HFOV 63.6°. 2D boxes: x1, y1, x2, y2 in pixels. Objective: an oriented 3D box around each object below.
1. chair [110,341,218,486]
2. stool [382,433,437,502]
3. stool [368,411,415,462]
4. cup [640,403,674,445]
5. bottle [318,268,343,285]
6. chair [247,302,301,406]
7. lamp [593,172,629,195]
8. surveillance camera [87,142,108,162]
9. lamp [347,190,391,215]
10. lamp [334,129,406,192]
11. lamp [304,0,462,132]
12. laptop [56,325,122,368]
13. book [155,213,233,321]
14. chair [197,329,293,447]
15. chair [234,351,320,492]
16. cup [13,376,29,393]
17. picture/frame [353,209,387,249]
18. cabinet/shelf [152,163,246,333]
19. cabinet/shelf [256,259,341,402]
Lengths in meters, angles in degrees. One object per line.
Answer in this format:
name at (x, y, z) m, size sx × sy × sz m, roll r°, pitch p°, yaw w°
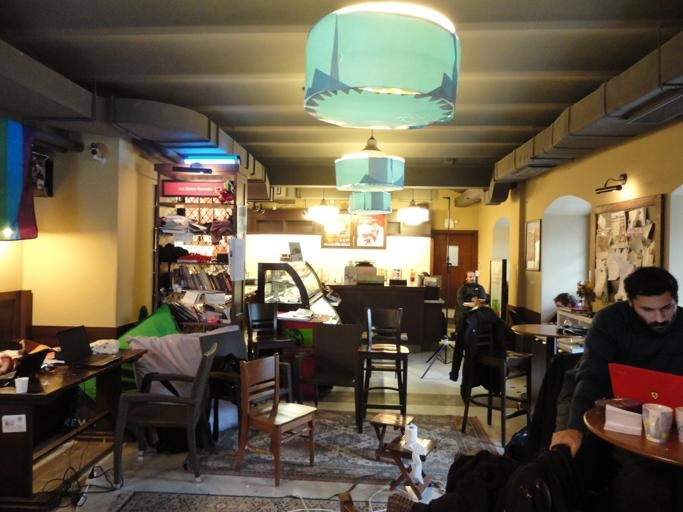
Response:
chair at (-1.612, 1.423, 5.150) m, size 0.820 × 1.087 × 0.870 m, roll 1°, pitch 1°, yaw -3°
stool at (0.607, 1.828, 4.834) m, size 0.431 × 0.418 × 0.453 m, roll -2°, pitch -5°, yaw 17°
stool at (0.421, 1.577, 5.089) m, size 0.448 × 0.432 × 0.458 m, roll 0°, pitch -3°, yaw 17°
cup at (1.841, 0.971, 3.209) m, size 0.165 × 0.184 × 0.167 m, roll 0°, pitch 2°, yaw 0°
bottle at (-0.381, 0.462, 12.970) m, size 0.853 × 0.449 × 0.260 m, roll -1°, pitch 3°, yaw 0°
chair at (-0.917, 1.197, 6.449) m, size 0.497 × 1.223 × 0.519 m, roll -3°, pitch 11°, yaw 1°
lamp at (3.225, -0.870, 6.619) m, size 0.183 × 0.262 × 0.537 m, roll 2°, pitch 8°, yaw 3°
surveillance camera at (-2.880, -1.246, 6.520) m, size 0.142 × 0.226 × 0.245 m, roll 0°, pitch 8°, yaw -11°
lamp at (0.432, -0.755, 7.795) m, size 0.400 × 0.182 × 0.395 m, roll 1°, pitch 0°, yaw -22°
lamp at (0.312, -1.014, 5.706) m, size 0.610 × 0.637 × 0.603 m, roll 0°, pitch -1°, yaw 15°
lamp at (0.248, -1.239, 3.590) m, size 0.958 × 0.473 × 0.940 m, roll 9°, pitch -14°, yaw -39°
laptop at (-2.374, 0.752, 5.118) m, size 0.349 × 0.304 × 0.501 m, roll 1°, pitch 0°, yaw -6°
book at (-1.925, 0.096, 7.299) m, size 0.958 × 1.263 × 0.685 m, roll 0°, pitch 8°, yaw -11°
chair at (-0.996, 1.387, 5.791) m, size 0.675 × 1.100 × 0.858 m, roll -3°, pitch -3°, yaw 24°
chair at (-0.592, 1.427, 4.996) m, size 0.755 × 0.972 × 0.784 m, roll 0°, pitch 1°, yaw -4°
cup at (-2.561, 1.023, 4.401) m, size 0.113 × 0.115 × 0.106 m, roll -2°, pitch -8°, yaw 0°
picture/frame at (0.664, -0.647, 12.924) m, size 0.785 × 0.894 × 0.078 m, roll 1°, pitch 25°, yaw -10°
cabinet/shelf at (-1.919, -0.094, 7.302) m, size 1.112 × 2.085 × 0.692 m, roll 1°, pitch -15°, yaw -18°
cabinet/shelf at (-0.789, 0.939, 7.625) m, size 0.809 × 1.511 × 1.607 m, roll -8°, pitch -2°, yaw -20°
